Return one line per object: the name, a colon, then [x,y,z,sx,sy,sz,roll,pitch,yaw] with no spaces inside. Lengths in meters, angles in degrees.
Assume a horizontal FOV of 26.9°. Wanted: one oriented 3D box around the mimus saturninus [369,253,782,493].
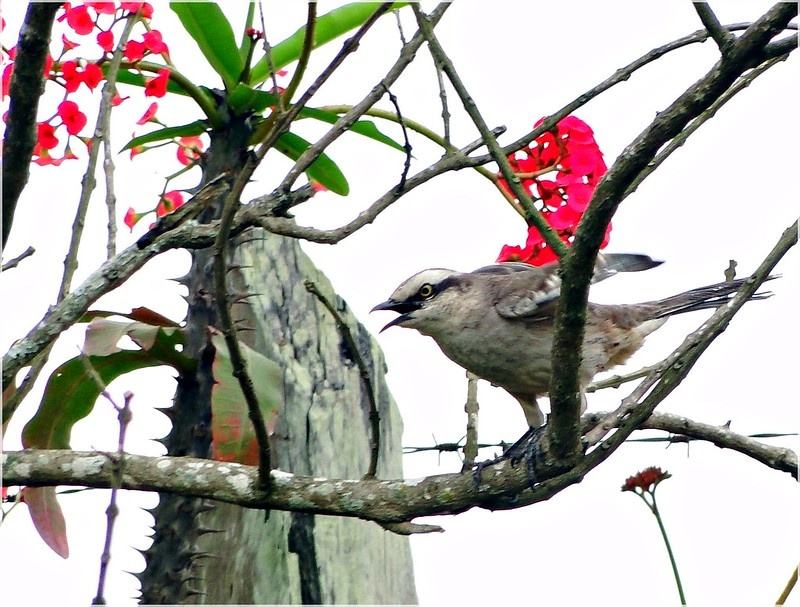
mimus saturninus: [0.695,0.110,5.738,1.635,0.658,0.562,-5,-4,0]
